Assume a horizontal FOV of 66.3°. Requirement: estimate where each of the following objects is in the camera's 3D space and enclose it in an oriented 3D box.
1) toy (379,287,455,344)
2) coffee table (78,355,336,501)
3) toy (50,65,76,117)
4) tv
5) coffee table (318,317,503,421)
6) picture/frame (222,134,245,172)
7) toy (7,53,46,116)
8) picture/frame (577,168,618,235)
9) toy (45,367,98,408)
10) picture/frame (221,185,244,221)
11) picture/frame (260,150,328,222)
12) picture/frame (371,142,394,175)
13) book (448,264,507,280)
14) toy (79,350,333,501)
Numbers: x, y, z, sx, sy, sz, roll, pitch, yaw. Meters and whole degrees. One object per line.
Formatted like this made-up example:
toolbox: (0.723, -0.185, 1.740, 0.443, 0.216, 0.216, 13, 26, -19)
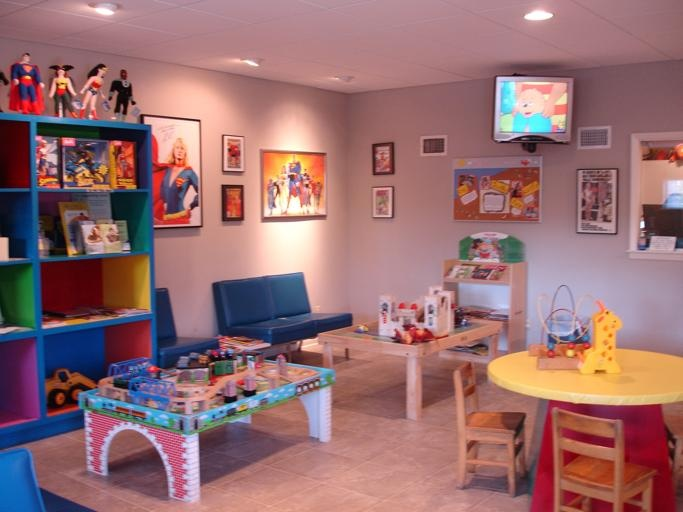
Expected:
toy: (0.697, 0.566, 5.144, 0.588, 0.300, 0.568, 2, 3, 35)
coffee table: (-1.201, 0.935, 3.805, 1.029, 0.499, 1.444, 2, 4, 34)
toy: (-2.472, -1.466, 4.631, 0.183, 0.545, 0.456, -4, 6, -26)
tv: (2.332, -1.727, 6.279, 1.092, 0.893, 0.544, 3, 13, 12)
coffee table: (0.473, 0.876, 5.176, 1.042, 0.448, 1.486, 2, 5, 35)
picture/frame: (-1.370, -1.287, 6.639, 0.333, 0.478, 0.029, -6, 7, -43)
toy: (-2.668, -1.436, 4.410, 0.255, 0.512, 0.246, -4, 6, -29)
picture/frame: (3.159, -0.663, 6.431, 0.459, 0.813, 0.092, 1, 6, 22)
toy: (-2.472, 1.195, 4.858, 0.241, 0.274, 0.580, 6, 10, 41)
picture/frame: (-1.385, -0.664, 6.648, 0.068, 0.464, 0.315, 3, 7, 37)
picture/frame: (-0.702, -0.984, 7.329, 0.047, 0.838, 1.247, 8, 10, 44)
picture/frame: (0.642, -1.467, 7.867, 0.576, 0.574, 0.050, 4, 5, 38)
book: (1.764, 0.211, 6.784, 0.756, 0.210, 0.242, 2, 6, 32)
toy: (-0.921, 1.218, 3.969, 1.685, 0.725, 0.949, -4, 6, -35)
